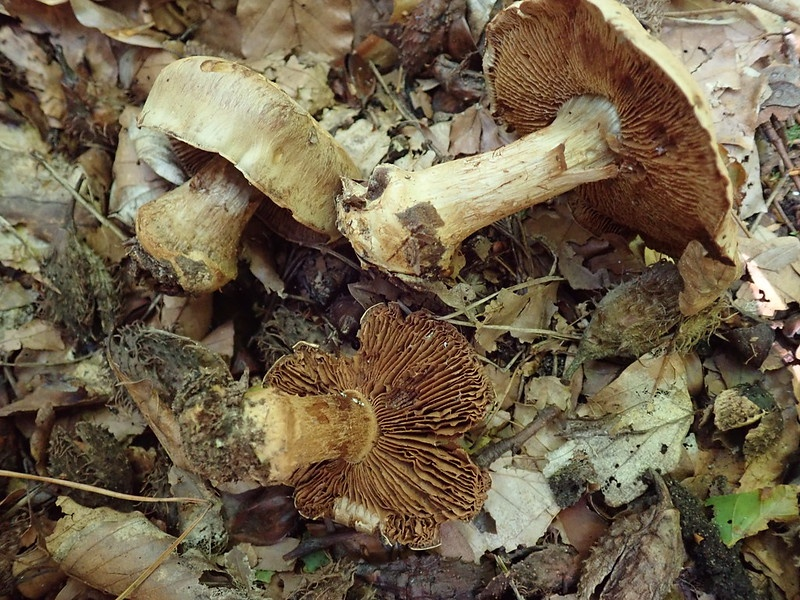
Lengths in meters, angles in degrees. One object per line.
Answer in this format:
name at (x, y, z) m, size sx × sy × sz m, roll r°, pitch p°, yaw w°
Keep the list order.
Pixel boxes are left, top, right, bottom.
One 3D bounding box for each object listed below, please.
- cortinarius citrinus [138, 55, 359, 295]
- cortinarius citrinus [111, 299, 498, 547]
cortinarius citrinus at (-0.841, -0.567, 4.150) m, size 1.125 × 1.143 × 1.095 m, roll 46°, pitch 78°, yaw -11°
cortinarius citrinus at (-0.241, 0.542, 3.749) m, size 1.456 × 0.682 × 1.152 m, roll 13°, pitch 80°, yaw -2°
